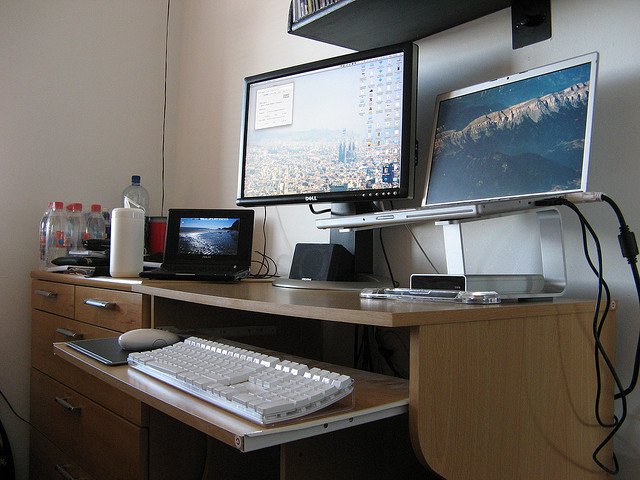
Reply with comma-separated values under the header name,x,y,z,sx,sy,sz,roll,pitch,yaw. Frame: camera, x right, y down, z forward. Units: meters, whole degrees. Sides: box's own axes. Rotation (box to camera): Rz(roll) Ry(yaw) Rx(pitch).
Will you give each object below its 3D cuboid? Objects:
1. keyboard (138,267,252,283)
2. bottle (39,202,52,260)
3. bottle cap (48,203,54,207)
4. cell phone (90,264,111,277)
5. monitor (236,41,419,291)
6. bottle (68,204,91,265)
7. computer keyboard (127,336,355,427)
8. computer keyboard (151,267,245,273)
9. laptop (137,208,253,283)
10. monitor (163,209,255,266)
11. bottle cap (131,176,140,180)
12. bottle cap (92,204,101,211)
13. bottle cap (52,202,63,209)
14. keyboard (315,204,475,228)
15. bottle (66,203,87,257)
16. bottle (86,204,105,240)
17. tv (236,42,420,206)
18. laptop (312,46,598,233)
name,x,y,z,sx,sy,sz,roll,pitch,yaw
keyboard,-0.438,0.115,1.770,0.397,0.038,0.185,0,3,15
bottle,-1.191,-0.040,2.246,0.049,0.242,0.185,-2,2,-30
bottle cap,-1.142,-0.152,2.196,0.024,0.017,0.014,1,-6,2
cell phone,-0.793,0.107,1.868,0.067,0.036,0.146,-2,3,-23
monitor,-0.003,-0.350,1.660,0.638,0.464,0.090,1,2,32
bottle,-0.976,-0.035,2.094,0.070,0.228,0.473,-2,3,-26
computer keyboard,-0.180,0.290,1.110,0.518,0.071,0.216,1,3,37
computer keyboard,-0.412,0.101,1.769,0.321,0.009,0.122,0,3,8
laptop,-0.434,0.006,1.840,0.358,0.226,0.214,2,6,18
monitor,-0.403,-0.018,1.882,0.334,0.228,0.185,3,-10,-14
bottle cap,-0.830,-0.282,2.334,0.035,0.020,0.023,4,1,8
bottle cap,-0.993,-0.147,2.288,0.026,0.019,0.026,2,-1,-26
bottle cap,-1.097,-0.148,2.167,0.029,0.025,0.023,3,-1,6
keyboard,0.184,-0.063,1.386,0.074,0.058,0.497,-3,3,-43
bottle,-1.015,-0.048,2.166,0.079,0.217,0.299,-1,3,-26
bottle,-0.980,-0.084,2.257,0.075,0.145,0.146,-1,2,-23
tv,0.036,-0.351,1.638,0.599,0.413,0.062,-3,-9,34
laptop,0.358,-0.248,1.335,0.479,0.396,0.550,-3,1,-28
